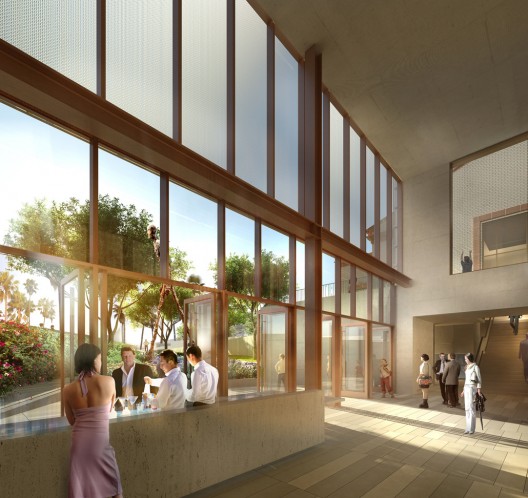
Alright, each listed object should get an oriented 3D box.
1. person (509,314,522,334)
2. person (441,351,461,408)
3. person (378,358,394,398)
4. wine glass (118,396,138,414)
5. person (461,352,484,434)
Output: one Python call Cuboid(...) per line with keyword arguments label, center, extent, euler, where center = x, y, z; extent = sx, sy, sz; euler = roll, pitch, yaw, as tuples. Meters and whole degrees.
Cuboid(label="person", center=(11.399, 3.488, 21.296), extent=(0.403, 0.831, 0.904), euler=(0, -7, 25))
Cuboid(label="person", center=(5.731, 4.000, 14.325), extent=(0.473, 1.602, 1.158), euler=(0, -6, 22))
Cuboid(label="person", center=(4.202, 4.472, 16.182), extent=(0.429, 1.245, 0.722), euler=(1, -6, 12))
Cuboid(label="wine glass", center=(-1.731, 1.965, 5.889), extent=(0.233, 0.219, 0.258), euler=(-7, -17, 32))
Cuboid(label="person", center=(4.371, 3.050, 9.839), extent=(0.287, 1.659, 0.613), euler=(1, -5, 11))
